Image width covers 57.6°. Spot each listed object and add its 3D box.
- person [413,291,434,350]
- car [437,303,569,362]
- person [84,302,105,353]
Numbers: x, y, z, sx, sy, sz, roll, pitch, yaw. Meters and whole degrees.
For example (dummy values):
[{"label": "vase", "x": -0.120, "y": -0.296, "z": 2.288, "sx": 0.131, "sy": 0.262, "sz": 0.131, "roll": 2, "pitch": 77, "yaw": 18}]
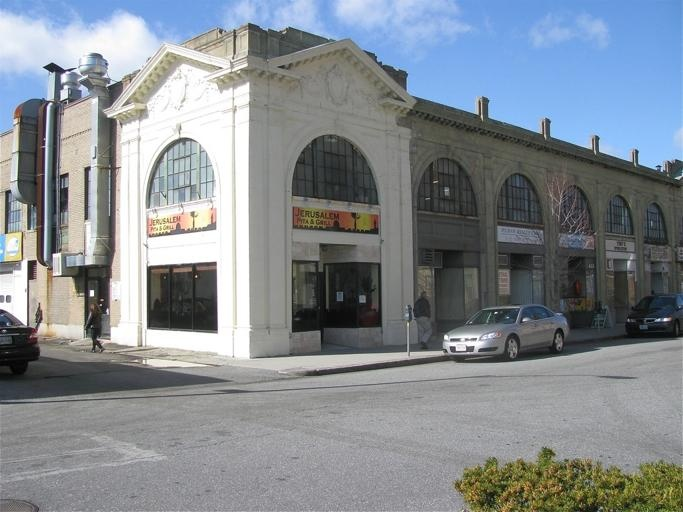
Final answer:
[{"label": "person", "x": 2.921, "y": 2.379, "z": 22.660, "sx": 0.577, "sy": 2.031, "sz": 1.353, "roll": -1, "pitch": -2, "yaw": 9}, {"label": "car", "x": 5.357, "y": 2.486, "z": 19.942, "sx": 3.959, "sy": 1.434, "sz": 1.787, "roll": 7, "pitch": -11, "yaw": -44}, {"label": "person", "x": -9.631, "y": 2.756, "z": 24.069, "sx": 0.607, "sy": 1.747, "sz": 2.935, "roll": 0, "pitch": -2, "yaw": -23}]
